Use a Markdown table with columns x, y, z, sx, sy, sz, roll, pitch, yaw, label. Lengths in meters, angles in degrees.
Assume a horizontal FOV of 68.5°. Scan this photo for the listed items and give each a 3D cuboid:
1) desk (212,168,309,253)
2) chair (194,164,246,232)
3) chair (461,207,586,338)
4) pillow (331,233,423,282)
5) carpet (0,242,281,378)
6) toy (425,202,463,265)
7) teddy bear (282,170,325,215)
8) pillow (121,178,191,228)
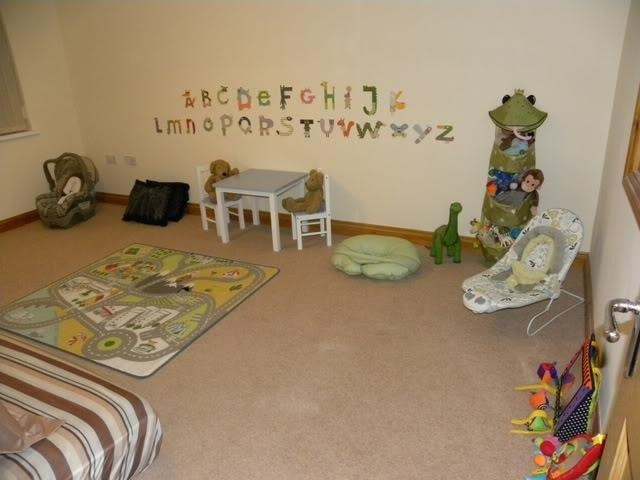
| x | y | z | sx | sy | sz | roll | pitch | yaw | label |
| --- | --- | --- | --- | --- | --- | --- | --- | --- | --- |
| -0.550 | -0.425 | 4.880 | 0.861 | 0.808 | 0.870 | 8 | 27 | 15 | desk |
| -1.079 | -0.468 | 5.056 | 0.383 | 0.742 | 0.420 | 8 | 22 | 26 | chair |
| 1.504 | 0.147 | 3.409 | 1.010 | 0.581 | 0.557 | -13 | 25 | -32 | chair |
| 0.491 | 0.151 | 4.145 | 0.507 | 0.157 | 0.476 | 5 | 23 | 14 | pillow |
| -1.494 | 0.477 | 3.964 | 1.765 | 0.196 | 1.564 | 9 | 23 | 22 | carpet |
| 1.140 | -0.078 | 4.272 | 0.252 | 0.559 | 0.273 | -4 | 21 | -12 | toy |
| -0.134 | -0.462 | 4.638 | 0.381 | 0.418 | 0.346 | 20 | 28 | 41 | teddy bear |
| -1.883 | -0.429 | 5.405 | 0.645 | 0.414 | 0.454 | 8 | 22 | 20 | pillow |
